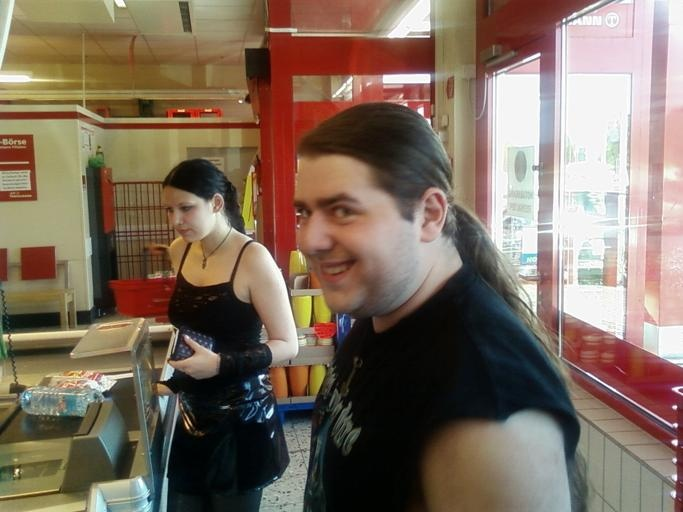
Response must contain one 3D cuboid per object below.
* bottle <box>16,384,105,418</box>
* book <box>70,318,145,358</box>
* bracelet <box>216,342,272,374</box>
[{"bbox_3d":[-1.091,0.554,2.130,0.262,0.148,0.087,1,-1,9],"label":"bottle"},{"bbox_3d":[-0.854,0.305,2.001,0.140,0.054,0.225,-10,23,3],"label":"book"},{"bbox_3d":[-0.416,0.433,2.329,0.113,0.080,0.180,14,17,36],"label":"bracelet"}]
